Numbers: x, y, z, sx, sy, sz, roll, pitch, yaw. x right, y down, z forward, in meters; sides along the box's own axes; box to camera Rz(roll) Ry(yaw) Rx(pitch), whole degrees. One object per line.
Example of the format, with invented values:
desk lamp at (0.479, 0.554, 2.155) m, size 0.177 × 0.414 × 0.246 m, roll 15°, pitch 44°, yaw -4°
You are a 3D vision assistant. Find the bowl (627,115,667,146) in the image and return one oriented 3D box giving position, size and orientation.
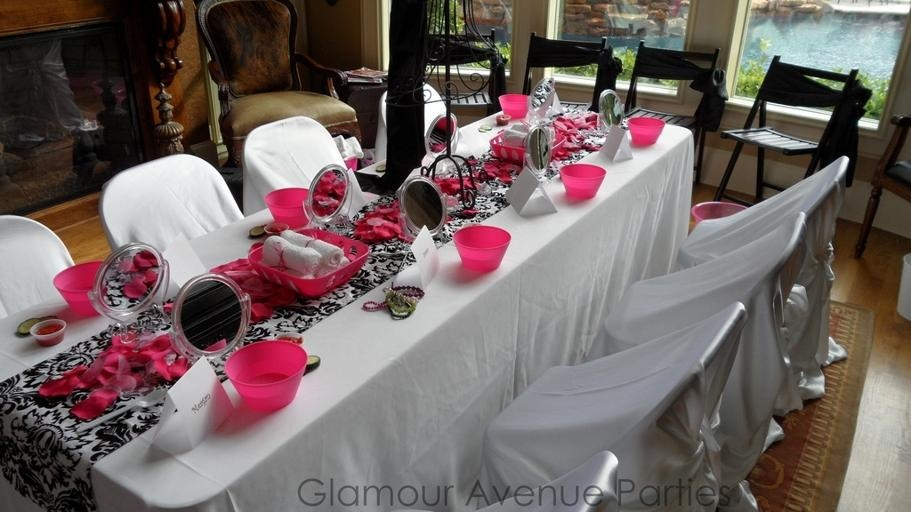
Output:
bowl at (1.188, -0.833, 3.297) m, size 0.206 × 0.127 × 0.203 m, roll -1°, pitch 29°, yaw 1°

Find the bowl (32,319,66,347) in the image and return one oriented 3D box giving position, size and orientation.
bowl at (-1.490, 0.275, 1.928) m, size 0.099 × 0.048 × 0.098 m, roll 4°, pitch 39°, yaw -3°

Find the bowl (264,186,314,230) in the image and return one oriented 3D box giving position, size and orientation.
bowl at (-0.771, -0.205, 2.426) m, size 0.198 × 0.125 × 0.193 m, roll 0°, pitch 34°, yaw 0°

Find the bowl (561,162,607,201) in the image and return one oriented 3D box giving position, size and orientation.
bowl at (0.651, -0.393, 2.724) m, size 0.217 × 0.151 × 0.259 m, roll 22°, pitch 31°, yaw 37°

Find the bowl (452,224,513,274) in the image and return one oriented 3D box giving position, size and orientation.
bowl at (0.111, -0.031, 2.227) m, size 0.232 × 0.165 × 0.152 m, roll -1°, pitch 25°, yaw -6°

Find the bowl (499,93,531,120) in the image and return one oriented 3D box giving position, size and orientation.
bowl at (0.405, -1.028, 3.528) m, size 0.175 × 0.107 × 0.172 m, roll -2°, pitch 33°, yaw 1°

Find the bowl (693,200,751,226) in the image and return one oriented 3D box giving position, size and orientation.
bowl at (1.681, -0.301, 3.413) m, size 0.281 × 0.096 × 0.176 m, roll -3°, pitch 25°, yaw -12°

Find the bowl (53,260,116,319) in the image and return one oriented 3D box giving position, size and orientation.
bowl at (-1.414, 0.124, 2.037) m, size 0.238 × 0.168 × 0.233 m, roll 5°, pitch 34°, yaw -4°
